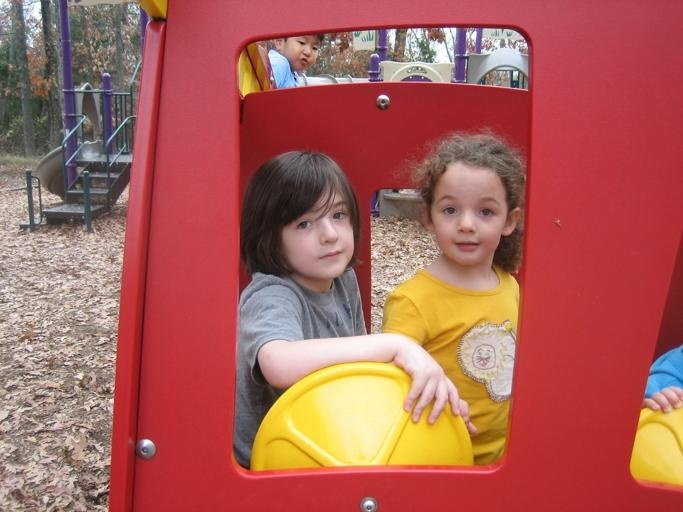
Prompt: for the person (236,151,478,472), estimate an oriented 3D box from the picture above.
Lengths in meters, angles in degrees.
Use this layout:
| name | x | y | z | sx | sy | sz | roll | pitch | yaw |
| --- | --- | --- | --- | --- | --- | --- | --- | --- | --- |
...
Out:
| name | x | y | z | sx | sy | sz | roll | pitch | yaw |
| --- | --- | --- | --- | --- | --- | --- | --- | --- | --- |
| person | -0.029 | 0.171 | 1.720 | 0.549 | 0.870 | 0.874 | -3 | 12 | -11 |
